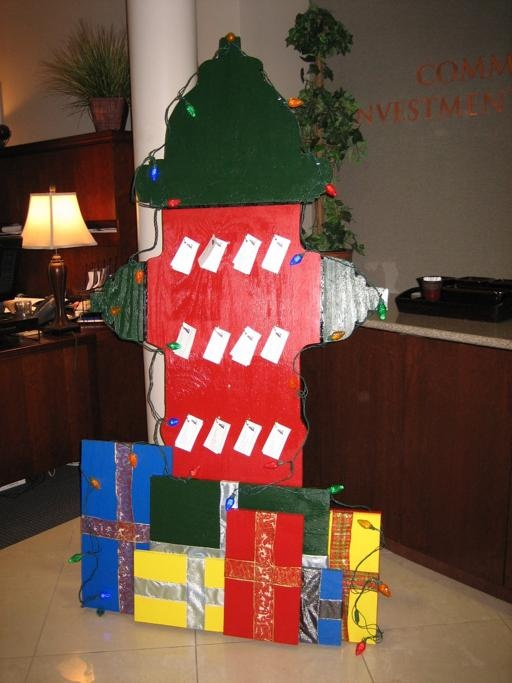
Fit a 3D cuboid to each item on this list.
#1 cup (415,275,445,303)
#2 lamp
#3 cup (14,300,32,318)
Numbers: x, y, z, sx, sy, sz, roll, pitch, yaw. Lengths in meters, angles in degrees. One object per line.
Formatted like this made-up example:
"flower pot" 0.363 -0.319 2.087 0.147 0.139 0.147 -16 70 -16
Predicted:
"cup" 0.652 -0.204 2.319 0.100 0.115 0.088 -8 9 -44
"lamp" -0.952 -0.422 3.043 0.326 0.649 0.708 -1 10 1
"cup" -1.003 -0.145 2.680 0.079 0.069 0.062 1 5 -4
